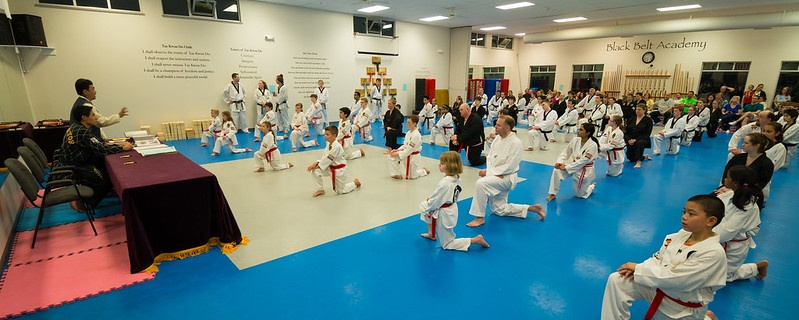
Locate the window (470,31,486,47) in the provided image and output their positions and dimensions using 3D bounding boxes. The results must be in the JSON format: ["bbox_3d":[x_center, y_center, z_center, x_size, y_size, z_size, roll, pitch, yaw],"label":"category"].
[{"bbox_3d":[5.359,-8.524,27.692,2.043,0.996,0.134,-4,11,-35],"label":"window"}]

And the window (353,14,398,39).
[{"bbox_3d":[-1.520,-7.933,23.469,2.659,0.966,0.400,-4,11,-30],"label":"window"}]

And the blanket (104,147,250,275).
[{"bbox_3d":[-9.801,1.175,16.496,4.038,1.797,8.668,-13,22,-38],"label":"blanket"}]

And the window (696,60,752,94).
[{"bbox_3d":[19.537,-5.110,23.901,3.032,2.558,0.134,7,8,36],"label":"window"}]
